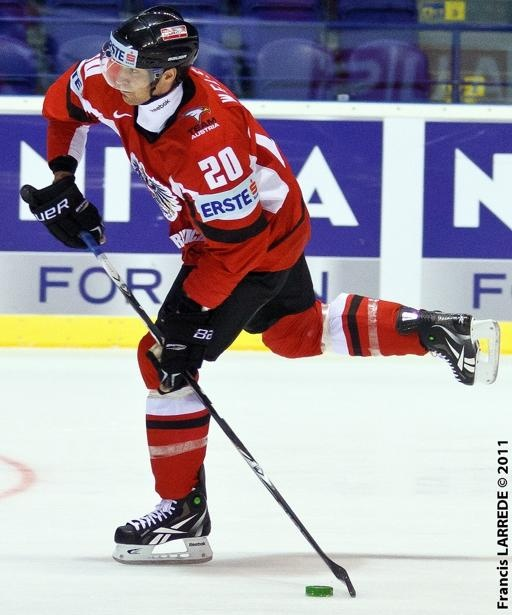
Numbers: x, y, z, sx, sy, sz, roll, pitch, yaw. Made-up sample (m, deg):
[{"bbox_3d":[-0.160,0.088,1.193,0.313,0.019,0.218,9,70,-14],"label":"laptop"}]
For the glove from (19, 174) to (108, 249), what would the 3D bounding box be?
[{"bbox_3d":[-0.486,-0.241,2.074,0.151,0.244,0.103,-31,34,22],"label":"glove"}]

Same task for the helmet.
[{"bbox_3d":[-0.251,-0.578,1.814,0.247,0.187,0.158,1,40,-20],"label":"helmet"}]

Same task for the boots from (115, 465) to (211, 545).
[{"bbox_3d":[-0.239,0.472,1.874,0.292,0.187,0.092,6,-16,-38],"label":"boots"}]

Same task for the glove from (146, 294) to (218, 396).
[{"bbox_3d":[-0.166,0.082,1.874,0.160,0.231,0.088,-1,37,-49],"label":"glove"}]
